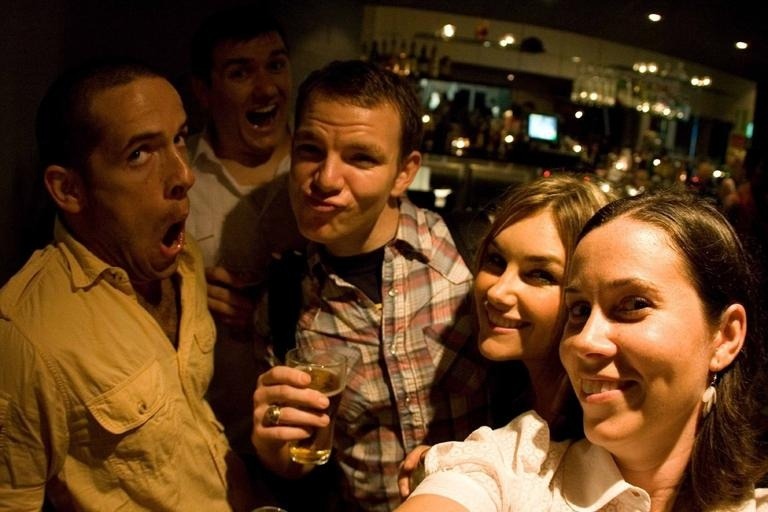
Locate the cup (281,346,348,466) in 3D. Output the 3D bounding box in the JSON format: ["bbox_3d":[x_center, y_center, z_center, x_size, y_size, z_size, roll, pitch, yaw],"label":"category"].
[{"bbox_3d":[-0.257,0.616,2.728,0.226,0.510,0.202,0,1,29],"label":"cup"}]
